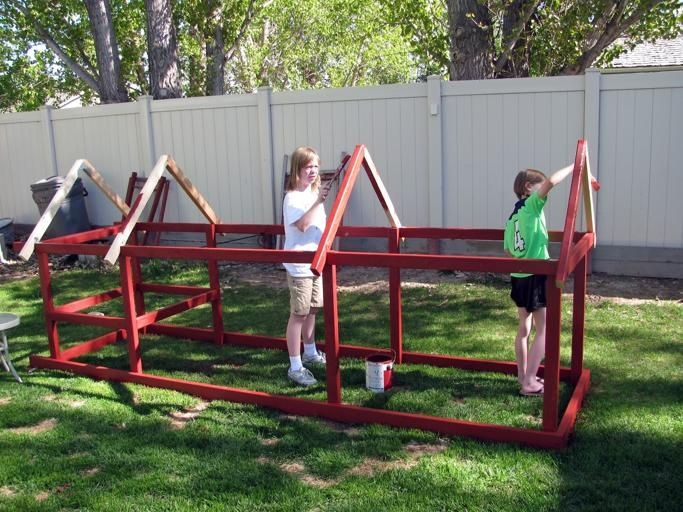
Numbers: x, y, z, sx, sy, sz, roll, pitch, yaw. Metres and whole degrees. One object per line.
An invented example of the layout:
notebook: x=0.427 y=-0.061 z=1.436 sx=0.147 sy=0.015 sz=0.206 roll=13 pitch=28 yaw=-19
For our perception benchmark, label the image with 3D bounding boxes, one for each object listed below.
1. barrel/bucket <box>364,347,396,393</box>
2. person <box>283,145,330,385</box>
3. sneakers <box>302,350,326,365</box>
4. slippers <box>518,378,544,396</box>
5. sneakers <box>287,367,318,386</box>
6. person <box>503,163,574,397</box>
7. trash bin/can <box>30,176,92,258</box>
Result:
barrel/bucket: x=0.347 y=0.976 z=5.551 sx=0.228 sy=0.367 sz=0.308 roll=-4 pitch=2 yaw=-43
person: x=-0.319 y=0.094 z=5.579 sx=0.413 sy=2.028 sz=0.826 roll=-2 pitch=14 yaw=-3
sneakers: x=-0.258 y=0.961 z=6.019 sx=0.200 sy=0.099 sz=0.109 roll=-1 pitch=-1 yaw=5
slippers: x=1.569 y=1.088 z=5.338 sx=0.209 sy=0.161 sz=0.114 roll=-8 pitch=9 yaw=-14
sneakers: x=-0.354 y=1.055 z=5.674 sx=0.242 sy=0.113 sz=0.125 roll=3 pitch=5 yaw=40
person: x=1.540 y=0.228 z=5.153 sx=0.466 sy=1.894 sz=0.706 roll=2 pitch=14 yaw=15
trash bin/can: x=-4.653 y=-0.640 z=10.695 sx=0.845 sy=1.358 sz=0.832 roll=-9 pitch=16 yaw=-27
